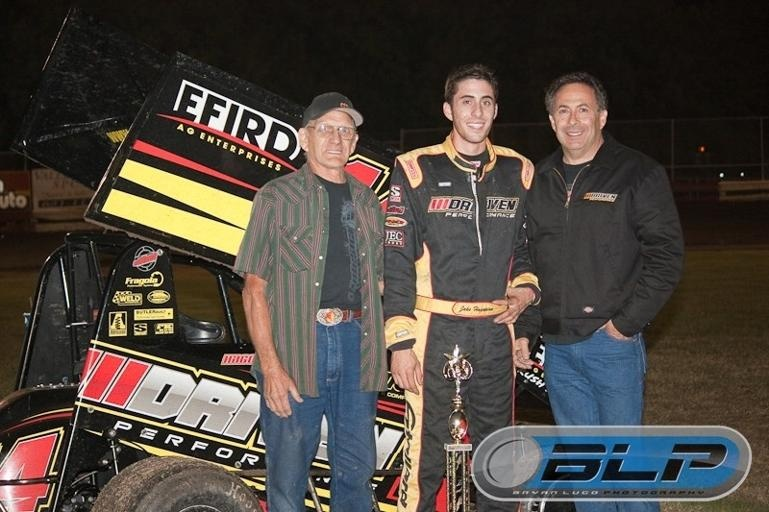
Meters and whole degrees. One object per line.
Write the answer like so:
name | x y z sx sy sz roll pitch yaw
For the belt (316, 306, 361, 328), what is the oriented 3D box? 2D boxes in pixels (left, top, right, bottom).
belt | -0.273 0.379 4.272 0.275 0.110 0.063 1 -6 -7
